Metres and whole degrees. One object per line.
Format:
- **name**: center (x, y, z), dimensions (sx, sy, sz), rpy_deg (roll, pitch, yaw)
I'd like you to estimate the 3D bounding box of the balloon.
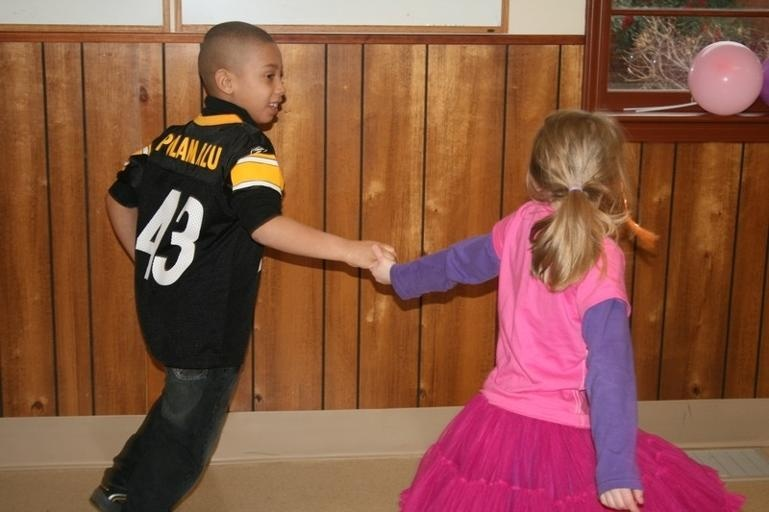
- **balloon**: center (1.532, -0.838, 3.810), dimensions (0.332, 0.366, 0.325), rpy_deg (2, 14, -18)
